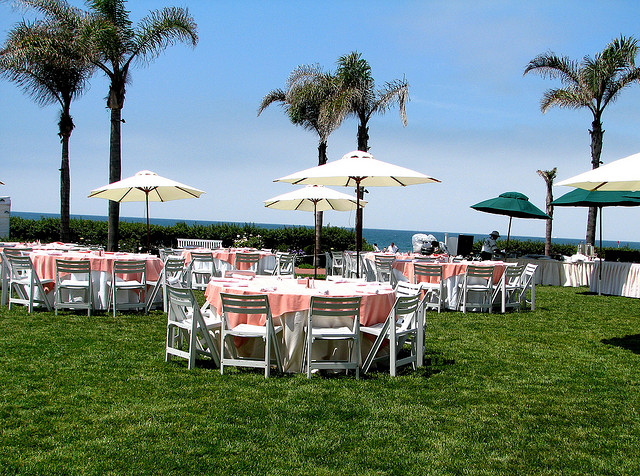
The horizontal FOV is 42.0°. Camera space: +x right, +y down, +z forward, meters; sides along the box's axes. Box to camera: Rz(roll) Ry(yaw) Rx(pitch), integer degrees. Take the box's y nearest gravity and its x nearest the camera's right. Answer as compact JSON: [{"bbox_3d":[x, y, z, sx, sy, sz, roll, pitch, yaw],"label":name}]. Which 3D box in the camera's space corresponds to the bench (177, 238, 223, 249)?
[{"bbox_3d":[-3.990,0.191,28.072,1.048,0.439,0.621,2,12,6],"label":"bench"}]

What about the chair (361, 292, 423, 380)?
[{"bbox_3d":[1.205,1.530,13.699,0.839,1.531,0.833,0,-1,37],"label":"chair"}]

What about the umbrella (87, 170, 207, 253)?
[{"bbox_3d":[-4.099,-1.155,19.494,1.993,1.039,2.181,6,16,16],"label":"umbrella"}]

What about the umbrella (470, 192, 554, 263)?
[{"bbox_3d":[4.767,-0.227,20.825,1.578,1.920,1.762,10,3,-5],"label":"umbrella"}]

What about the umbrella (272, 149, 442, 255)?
[{"bbox_3d":[0.704,-0.959,15.692,2.474,2.291,2.438,0,4,-9],"label":"umbrella"}]

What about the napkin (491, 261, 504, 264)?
[{"bbox_3d":[4.110,0.566,19.165,0.150,0.046,0.176,0,0,-11],"label":"napkin"}]

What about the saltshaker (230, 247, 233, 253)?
[{"bbox_3d":[-2.293,0.311,21.719,0.092,0.130,0.103,1,-4,-5],"label":"saltshaker"}]
